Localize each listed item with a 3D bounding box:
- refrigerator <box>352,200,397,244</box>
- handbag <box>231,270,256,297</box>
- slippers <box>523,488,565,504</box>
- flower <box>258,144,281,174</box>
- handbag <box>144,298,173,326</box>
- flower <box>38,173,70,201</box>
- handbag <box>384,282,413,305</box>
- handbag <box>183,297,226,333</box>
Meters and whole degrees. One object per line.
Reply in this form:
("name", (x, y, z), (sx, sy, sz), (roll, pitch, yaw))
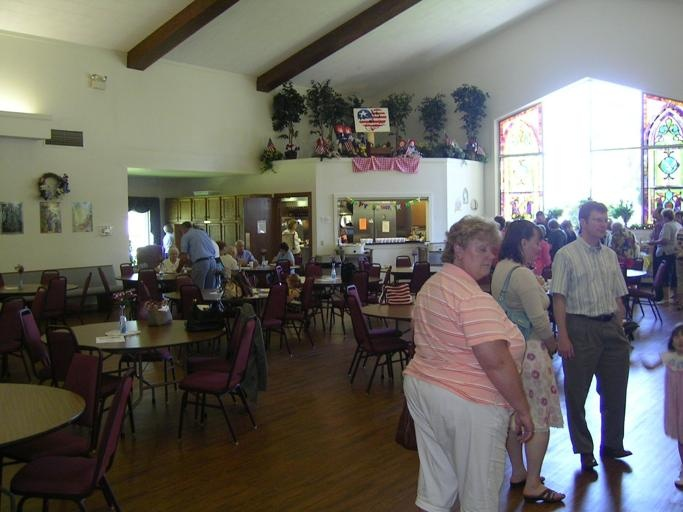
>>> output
("refrigerator", (0.826, -0.935, 15.011), (0.968, 1.050, 0.351), (-2, 7, -12))
("handbag", (-1.364, 0.399, 7.737), (0.108, 0.334, 0.271), (-21, 12, 2))
("slippers", (1.569, 1.879, 4.301), (0.239, 0.101, 0.136), (-3, 1, -1))
("flower", (-1.891, -2.514, 14.574), (0.580, 0.787, 0.605), (-1, 2, -23))
("handbag", (-1.961, 0.613, 5.933), (0.398, 0.382, 0.225), (0, -2, -30))
("flower", (-5.555, -1.341, 10.746), (0.534, 0.547, 0.175), (-6, 9, -31))
("handbag", (0.676, 0.464, 6.668), (0.238, 0.108, 0.257), (-2, 17, 9))
("handbag", (-1.473, 0.642, 5.980), (0.414, 0.229, 0.558), (1, 5, -12))
